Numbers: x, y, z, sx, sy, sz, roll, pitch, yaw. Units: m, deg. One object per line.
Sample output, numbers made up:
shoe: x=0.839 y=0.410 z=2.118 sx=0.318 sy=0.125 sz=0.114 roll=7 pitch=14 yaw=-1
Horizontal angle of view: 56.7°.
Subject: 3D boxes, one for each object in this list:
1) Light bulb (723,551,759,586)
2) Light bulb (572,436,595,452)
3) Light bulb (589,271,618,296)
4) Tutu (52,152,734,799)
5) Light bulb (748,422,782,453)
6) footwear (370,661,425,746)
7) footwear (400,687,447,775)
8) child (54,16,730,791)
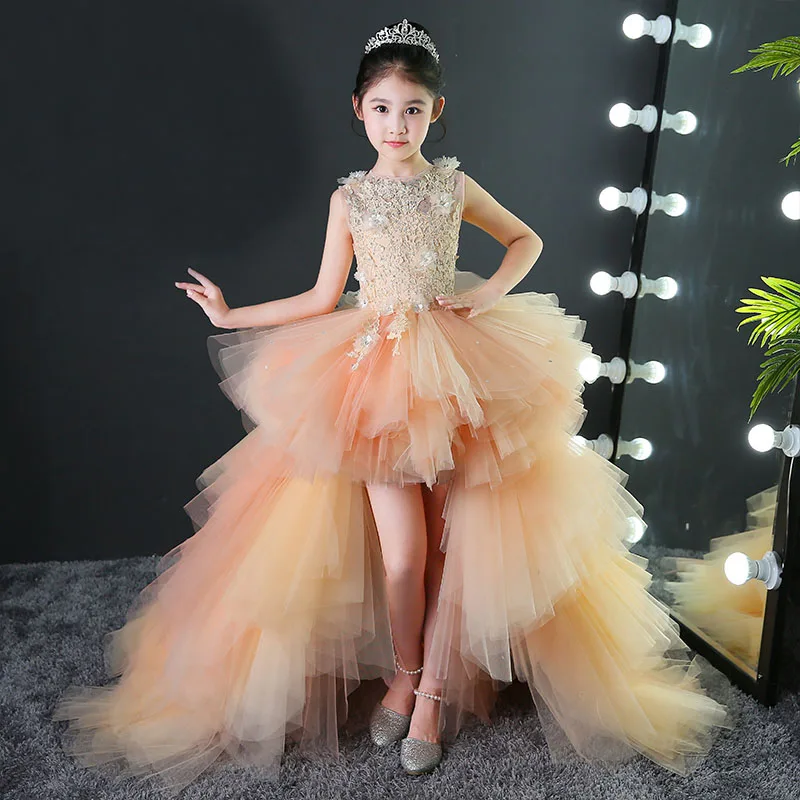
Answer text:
Light bulb: x=0.791 y=0.394 z=1.756 sx=0.062 sy=0.069 sz=0.079 roll=-2 pitch=2 yaw=-18
Light bulb: x=0.480 y=0.117 z=1.949 sx=0.025 sy=0.026 sz=0.106 roll=33 pitch=9 yaw=26
Light bulb: x=0.617 y=-0.356 z=2.309 sx=0.081 sy=0.079 sz=0.080 roll=17 pitch=30 yaw=36
Tutu: x=0.049 y=0.244 z=2.108 sx=1.986 sy=1.655 sz=1.261 roll=0 pitch=-1 yaw=-2
Light bulb: x=0.839 y=0.087 z=1.711 sx=0.070 sy=0.059 sz=0.053 roll=-10 pitch=-15 yaw=30
footwear: x=-0.022 y=0.714 z=1.716 sx=0.078 sy=0.047 sz=0.225 roll=23 pitch=18 yaw=10
footwear: x=0.050 y=0.714 z=1.595 sx=0.086 sy=0.131 sz=0.131 roll=1 pitch=5 yaw=9
child: x=-0.018 y=0.091 z=1.816 sx=1.476 sy=1.386 sz=0.806 roll=-1 pitch=3 yaw=5
